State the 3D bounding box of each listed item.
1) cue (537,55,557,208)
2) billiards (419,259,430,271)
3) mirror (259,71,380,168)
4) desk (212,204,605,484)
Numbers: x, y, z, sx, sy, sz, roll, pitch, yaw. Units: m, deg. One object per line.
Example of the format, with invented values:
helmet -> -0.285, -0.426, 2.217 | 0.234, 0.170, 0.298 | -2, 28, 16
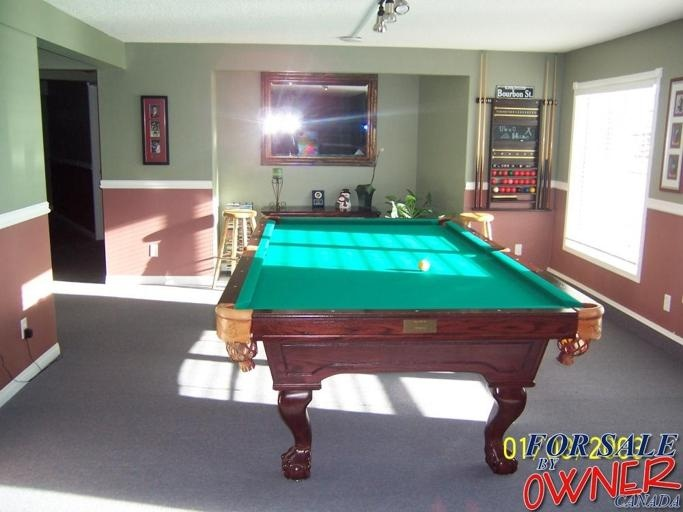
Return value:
cue -> 2.665, -1.579, 6.734 | 0.123, 1.927, 0.186 | 1, 13, -12
billiards -> 0.560, 0.063, 3.564 | 0.067, 0.085, 0.069 | -3, 2, 44
mirror -> -0.361, -2.080, 7.836 | 1.723, 1.350, 0.195 | -3, 15, -3
desk -> 0.364, 0.546, 3.941 | 2.133, 1.296, 2.171 | -3, 16, -2
